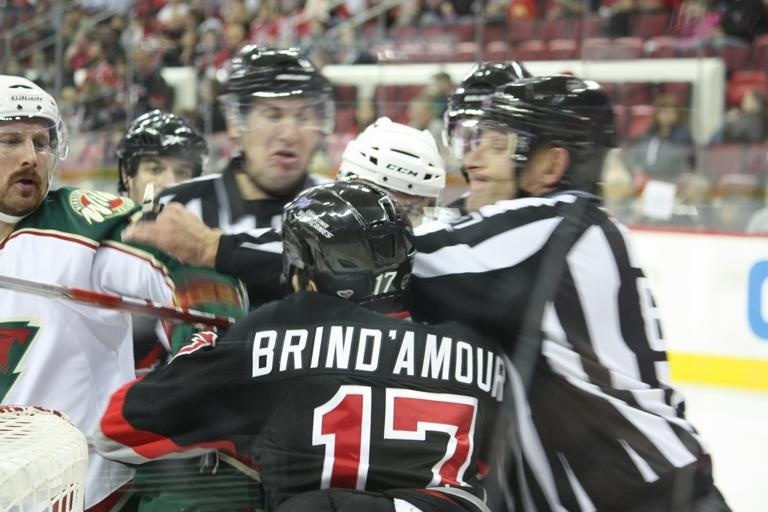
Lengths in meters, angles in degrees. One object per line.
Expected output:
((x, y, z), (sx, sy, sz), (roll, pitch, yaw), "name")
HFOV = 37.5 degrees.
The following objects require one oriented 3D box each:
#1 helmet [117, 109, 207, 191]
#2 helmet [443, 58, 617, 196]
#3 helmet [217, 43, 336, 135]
((-0.925, -0.431, 4.659), (0.314, 0.310, 0.256), (-13, 1, -1), "helmet")
((0.502, -0.484, 3.958), (0.525, 0.479, 0.430), (9, 9, 12), "helmet")
((-0.406, -0.627, 4.340), (0.368, 0.363, 0.312), (1, 3, -8), "helmet")
